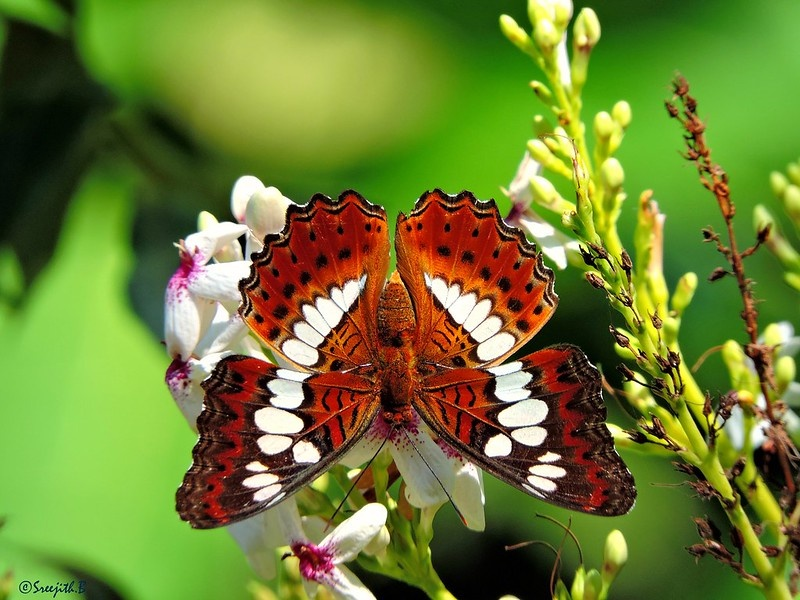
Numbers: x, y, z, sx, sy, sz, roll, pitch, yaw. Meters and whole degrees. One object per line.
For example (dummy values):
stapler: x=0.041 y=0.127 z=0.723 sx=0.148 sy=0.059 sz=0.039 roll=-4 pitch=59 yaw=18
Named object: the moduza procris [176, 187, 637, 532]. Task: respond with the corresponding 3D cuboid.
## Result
moduza procris: x=-0.012 y=0.158 z=2.333 sx=1.007 sy=0.330 sz=0.871 roll=1 pitch=70 yaw=3
